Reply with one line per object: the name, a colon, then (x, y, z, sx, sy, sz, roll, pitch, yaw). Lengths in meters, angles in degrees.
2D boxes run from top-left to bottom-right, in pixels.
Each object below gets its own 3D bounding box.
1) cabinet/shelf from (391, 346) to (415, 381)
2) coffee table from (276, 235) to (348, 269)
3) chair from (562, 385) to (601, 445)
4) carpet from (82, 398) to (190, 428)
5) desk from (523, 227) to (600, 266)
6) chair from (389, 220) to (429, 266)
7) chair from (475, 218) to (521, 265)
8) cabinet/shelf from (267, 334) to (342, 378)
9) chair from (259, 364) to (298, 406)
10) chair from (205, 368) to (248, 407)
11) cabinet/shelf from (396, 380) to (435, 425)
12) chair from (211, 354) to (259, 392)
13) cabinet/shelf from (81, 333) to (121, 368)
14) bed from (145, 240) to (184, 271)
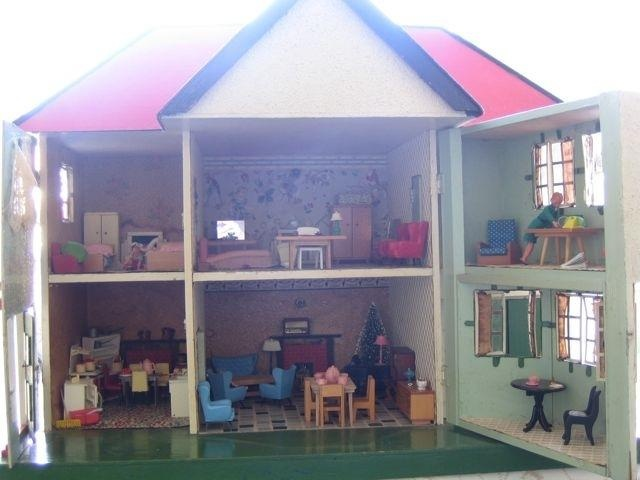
cabinet/shelf: (1.958, 2.862, 15.556, 0.596, 0.857, 1.146, 0, 0, 1)
coffee table: (-0.213, 0.227, 14.409, 1.126, 0.830, 0.739, -4, 12, -8)
chair: (4.846, 3.168, 12.305, 0.553, 0.928, 0.625, 8, -15, 44)
carpet: (-3.958, 3.921, 14.866, 2.005, 0.232, 1.801, -4, 13, -8)
desk: (4.842, 0.033, 12.990, 0.890, 0.566, 0.905, 0, 2, 34)
chair: (2.061, 0.051, 15.065, 0.839, 0.965, 1.057, 0, 0, -7)
chair: (3.821, 0.056, 14.098, 0.766, 1.028, 0.841, -6, -7, 37)
cabinet/shelf: (-0.327, 2.802, 17.289, 1.493, 1.452, 0.989, 0, -4, -5)
chair: (-0.875, 3.416, 15.958, 0.859, 1.036, 0.897, 0, -2, 20)
chair: (-2.105, 3.296, 15.164, 0.793, 0.867, 0.707, -2, 3, -33)
cabinet/shelf: (2.126, 3.832, 14.542, 0.592, 0.791, 1.582, 0, 0, 0)
chair: (-2.074, 3.351, 16.365, 0.963, 0.707, 0.508, 1, -6, -13)
cabinet/shelf: (-5.362, 2.685, 16.025, 0.334, 0.805, 0.847, 2, 2, 32)
bed: (-3.268, 0.351, 14.441, 0.887, 0.499, 0.943, 0, 13, 10)
